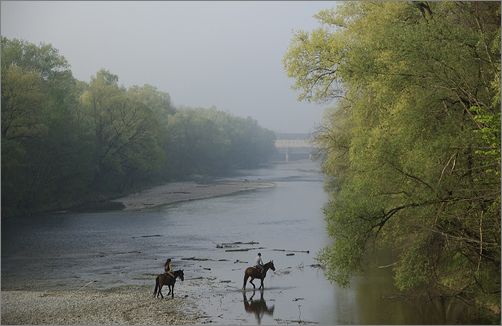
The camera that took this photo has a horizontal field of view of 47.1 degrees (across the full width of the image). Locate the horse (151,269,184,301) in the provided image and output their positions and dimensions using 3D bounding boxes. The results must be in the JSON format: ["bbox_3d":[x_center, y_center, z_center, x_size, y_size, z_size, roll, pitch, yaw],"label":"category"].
[{"bbox_3d":[-6.056,8.775,42.019,1.515,1.709,2.382,2,8,15],"label":"horse"}]

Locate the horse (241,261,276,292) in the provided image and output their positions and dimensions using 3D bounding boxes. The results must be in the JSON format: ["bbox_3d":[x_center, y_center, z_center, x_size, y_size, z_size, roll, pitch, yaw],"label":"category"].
[{"bbox_3d":[0.392,8.539,43.814,1.467,1.808,2.897,6,9,36],"label":"horse"}]
